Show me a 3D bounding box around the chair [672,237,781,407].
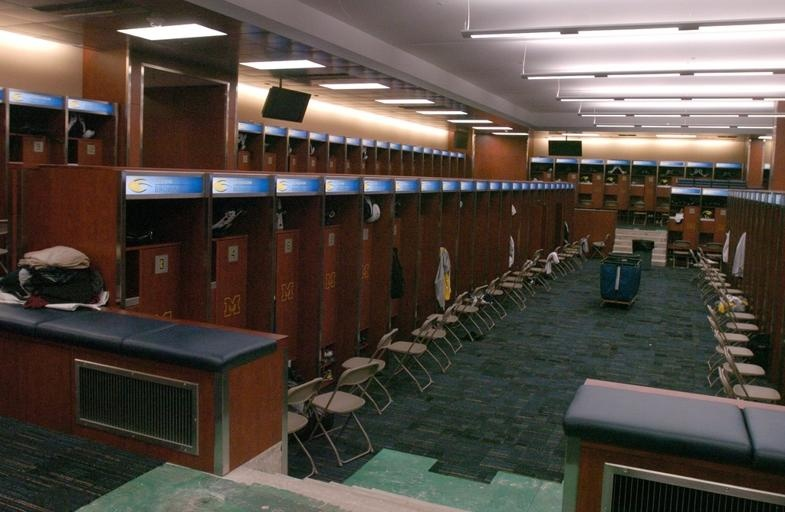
[{"bbox_3d":[5.828,1.108,9.676,0.630,0.781,2.537,-9,20,18],"label":"chair"}]

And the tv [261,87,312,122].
[{"bbox_3d":[-1.934,-2.752,10.057,0.232,0.615,1.016,25,19,37],"label":"tv"}]
